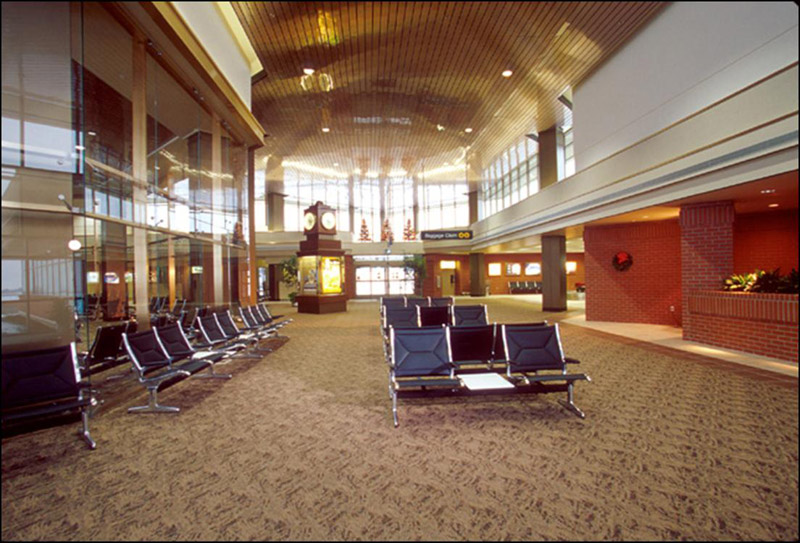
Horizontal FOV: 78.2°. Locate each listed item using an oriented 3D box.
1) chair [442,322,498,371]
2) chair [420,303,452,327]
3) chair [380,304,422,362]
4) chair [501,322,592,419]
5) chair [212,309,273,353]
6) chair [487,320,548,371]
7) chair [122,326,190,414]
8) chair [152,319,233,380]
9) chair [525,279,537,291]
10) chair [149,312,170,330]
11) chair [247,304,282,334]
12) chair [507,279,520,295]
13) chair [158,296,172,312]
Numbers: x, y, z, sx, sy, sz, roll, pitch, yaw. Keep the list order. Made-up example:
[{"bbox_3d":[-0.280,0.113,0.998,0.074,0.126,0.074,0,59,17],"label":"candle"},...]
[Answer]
[{"bbox_3d":[1.158,1.277,8.524,1.015,0.945,0.717,-1,2,0],"label":"chair"},{"bbox_3d":[0.785,0.937,10.402,0.465,0.514,0.454,-4,-8,25],"label":"chair"},{"bbox_3d":[0.023,1.160,9.224,1.049,0.750,1.777,0,-4,0],"label":"chair"},{"bbox_3d":[2.256,1.517,8.020,1.240,1.527,1.518,0,-6,-5],"label":"chair"},{"bbox_3d":[-3.483,1.248,10.519,1.157,1.079,0.744,1,3,11],"label":"chair"},{"bbox_3d":[2.180,1.272,8.674,0.913,1.197,0.903,0,-6,-1],"label":"chair"},{"bbox_3d":[-4.085,1.634,8.086,0.811,0.947,1.067,-2,-1,-35],"label":"chair"},{"bbox_3d":[-3.789,1.419,9.126,1.457,1.077,0.974,0,-1,3],"label":"chair"},{"bbox_3d":[7.753,0.801,28.636,0.647,0.804,0.624,0,-8,3],"label":"chair"},{"bbox_3d":[-5.329,1.091,10.784,0.191,0.186,0.328,-2,24,-2],"label":"chair"},{"bbox_3d":[-3.546,1.249,12.720,0.392,0.335,0.791,14,1,1],"label":"chair"},{"bbox_3d":[6.530,0.912,28.245,0.722,0.703,0.673,0,-3,1],"label":"chair"},{"bbox_3d":[-6.186,0.830,12.805,0.292,0.469,0.502,0,-1,-3],"label":"chair"}]
